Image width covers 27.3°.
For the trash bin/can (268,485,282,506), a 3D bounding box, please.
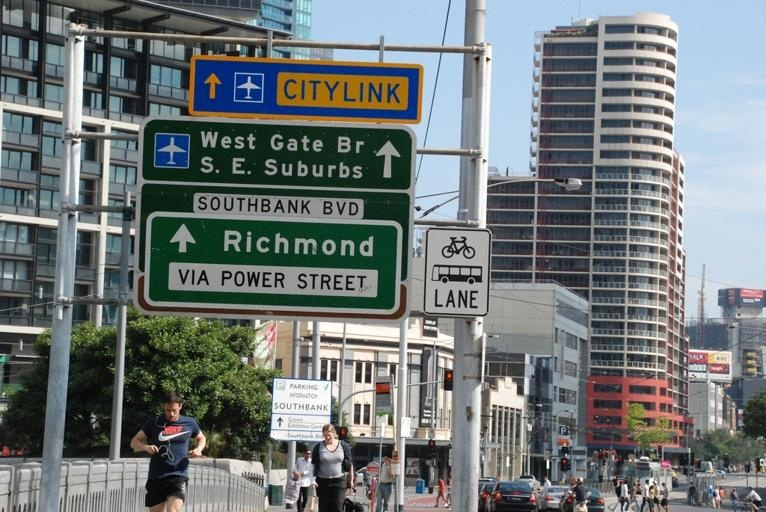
[{"bbox_3d":[-9.159,20.501,134.857,0.643,1.766,1.271,7,-10,-40],"label":"trash bin/can"}]
